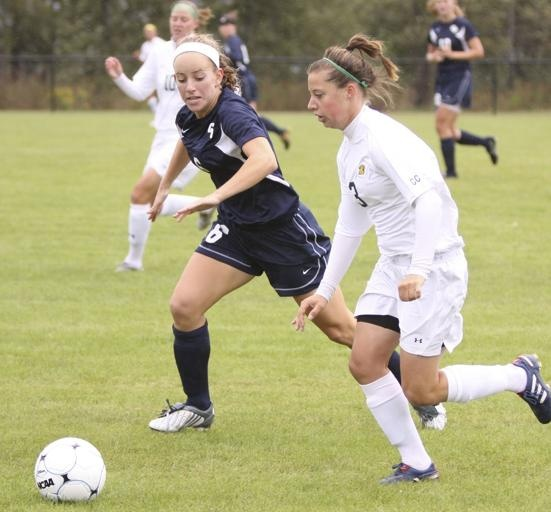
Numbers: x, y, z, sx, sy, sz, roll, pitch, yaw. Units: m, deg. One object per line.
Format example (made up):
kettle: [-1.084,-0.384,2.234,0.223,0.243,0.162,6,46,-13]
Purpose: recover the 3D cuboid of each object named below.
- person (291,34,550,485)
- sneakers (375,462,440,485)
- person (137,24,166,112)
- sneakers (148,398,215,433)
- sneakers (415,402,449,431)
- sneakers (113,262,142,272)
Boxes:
person: [0.668,0.021,4.253,1.138,2.010,0.732,3,12,3]
sneakers: [0.612,1.008,4.294,0.277,0.113,0.098,-3,-7,-2]
person: [-2.625,-3.767,18.315,0.535,1.598,0.498,9,31,-5]
sneakers: [-0.479,0.838,4.787,0.351,0.156,0.139,1,-2,-3]
sneakers: [0.807,0.832,4.734,0.188,0.180,0.088,-2,-6,-11]
sneakers: [-1.160,0.095,7.235,0.199,0.081,0.072,10,0,-15]
